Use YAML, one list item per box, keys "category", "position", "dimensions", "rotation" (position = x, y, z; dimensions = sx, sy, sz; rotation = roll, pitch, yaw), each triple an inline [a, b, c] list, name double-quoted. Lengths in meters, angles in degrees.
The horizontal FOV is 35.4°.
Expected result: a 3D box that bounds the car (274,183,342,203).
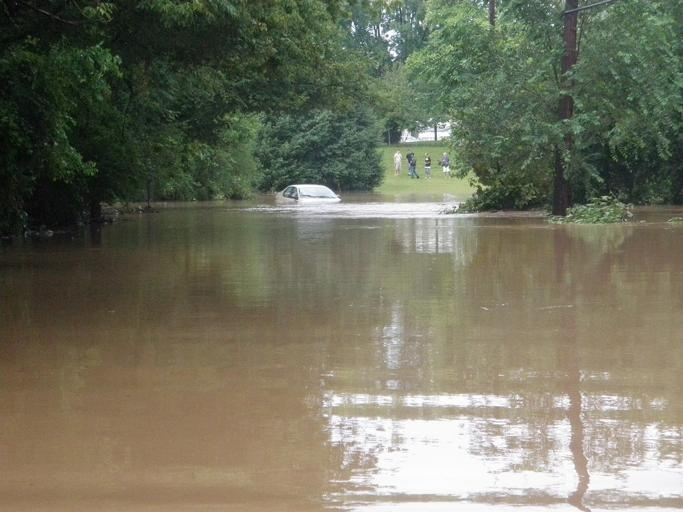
- category: "car"
  position: [-1.557, -2.908, 49.105]
  dimensions: [1.285, 0.753, 2.330]
  rotation: [-2, 3, -25]
